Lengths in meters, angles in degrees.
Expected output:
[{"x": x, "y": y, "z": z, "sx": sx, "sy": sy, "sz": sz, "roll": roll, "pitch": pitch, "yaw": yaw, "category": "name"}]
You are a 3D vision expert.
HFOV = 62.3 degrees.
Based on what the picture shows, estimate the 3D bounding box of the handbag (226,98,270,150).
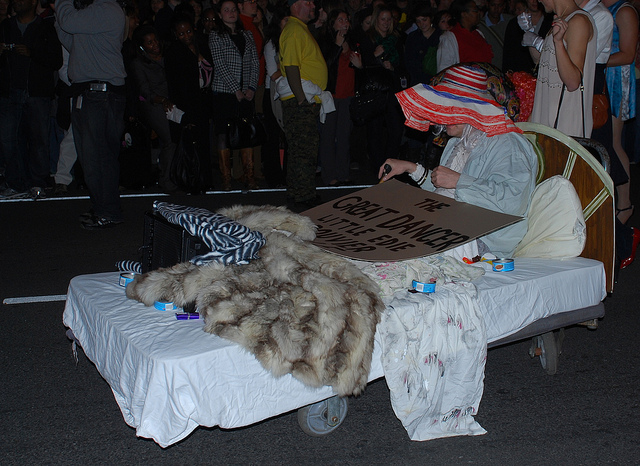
[{"x": -1.018, "y": -1.496, "z": 7.386, "sx": 0.616, "sy": 0.921, "sz": 0.296, "roll": -9, "pitch": 29, "yaw": -7, "category": "handbag"}]

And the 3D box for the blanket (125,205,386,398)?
[{"x": -0.292, "y": 0.278, "z": 2.671, "sx": 0.927, "sy": 0.285, "sz": 1.383, "roll": -27, "pitch": 36, "yaw": -30, "category": "blanket"}]

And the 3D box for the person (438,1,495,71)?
[{"x": 1.997, "y": -2.728, "z": 7.295, "sx": 0.790, "sy": 0.887, "sz": 0.469, "roll": -16, "pitch": 21, "yaw": -38, "category": "person"}]

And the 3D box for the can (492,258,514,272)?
[{"x": 1.052, "y": 0.181, "z": 3.036, "sx": 0.119, "sy": 0.062, "sz": 0.133, "roll": 4, "pitch": 19, "yaw": 19, "category": "can"}]

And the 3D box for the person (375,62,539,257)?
[{"x": 0.849, "y": -0.618, "z": 3.997, "sx": 1.028, "sy": 1.919, "sz": 1.242, "roll": -8, "pitch": 25, "yaw": -1, "category": "person"}]

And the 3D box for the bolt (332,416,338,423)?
[{"x": 0.078, "y": 0.942, "z": 2.689, "sx": 0.030, "sy": 0.037, "sz": 0.004, "roll": -15, "pitch": 20, "yaw": -35, "category": "bolt"}]

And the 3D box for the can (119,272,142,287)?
[{"x": -1.031, "y": 0.242, "z": 2.864, "sx": 0.075, "sy": 0.035, "sz": 0.078, "roll": 1, "pitch": 9, "yaw": 0, "category": "can"}]

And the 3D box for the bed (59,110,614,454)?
[{"x": 0.221, "y": 0.059, "z": 3.283, "sx": 2.760, "sy": 1.536, "sz": 2.004, "roll": -7, "pitch": 15, "yaw": -21, "category": "bed"}]

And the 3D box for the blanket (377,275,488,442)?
[{"x": 0.571, "y": 0.688, "z": 2.717, "sx": 0.651, "sy": 0.773, "sz": 0.284, "roll": -9, "pitch": 17, "yaw": -21, "category": "blanket"}]
